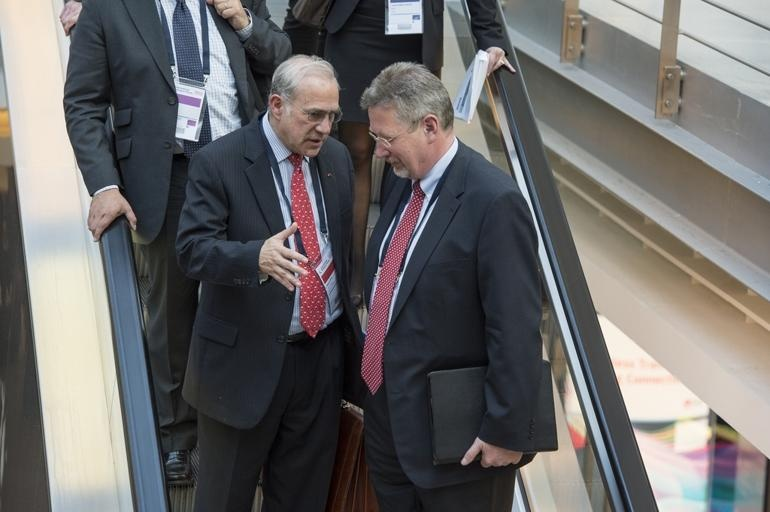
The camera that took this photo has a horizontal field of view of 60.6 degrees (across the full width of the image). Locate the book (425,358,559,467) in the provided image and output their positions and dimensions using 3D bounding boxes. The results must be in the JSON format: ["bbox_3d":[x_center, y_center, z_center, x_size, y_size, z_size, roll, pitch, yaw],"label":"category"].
[{"bbox_3d":[0.520,0.756,3.151,0.616,0.480,0.189,-1,0,0],"label":"book"}]

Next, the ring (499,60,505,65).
[{"bbox_3d":[0.823,-1.367,4.611,0.030,0.033,0.008,2,-4,-20],"label":"ring"}]

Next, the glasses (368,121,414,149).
[{"bbox_3d":[0.029,-0.559,3.202,0.149,0.047,0.121,-41,42,-20],"label":"glasses"}]

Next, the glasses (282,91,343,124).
[{"bbox_3d":[-0.393,-0.754,3.277,0.329,0.191,0.105,-1,0,-10],"label":"glasses"}]
